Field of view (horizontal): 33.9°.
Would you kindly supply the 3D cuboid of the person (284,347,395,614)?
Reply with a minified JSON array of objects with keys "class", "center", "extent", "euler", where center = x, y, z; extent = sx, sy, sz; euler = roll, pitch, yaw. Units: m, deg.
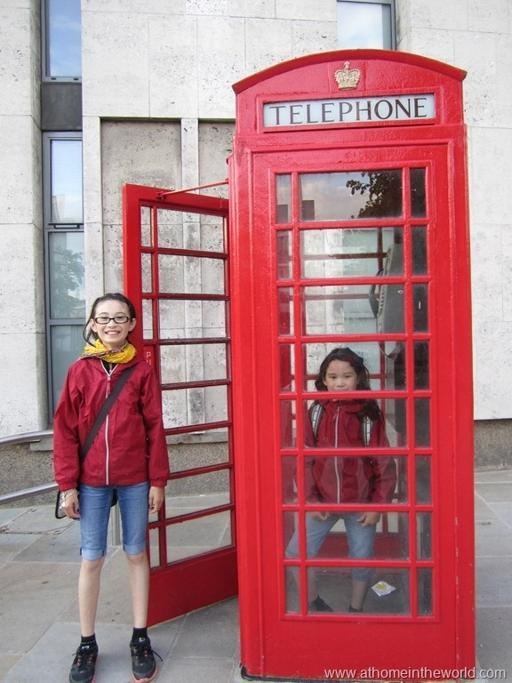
[{"class":"person","center":[0.313,0.567,3.744],"extent":[0.525,1.048,0.563],"euler":[3,9,8]}]
